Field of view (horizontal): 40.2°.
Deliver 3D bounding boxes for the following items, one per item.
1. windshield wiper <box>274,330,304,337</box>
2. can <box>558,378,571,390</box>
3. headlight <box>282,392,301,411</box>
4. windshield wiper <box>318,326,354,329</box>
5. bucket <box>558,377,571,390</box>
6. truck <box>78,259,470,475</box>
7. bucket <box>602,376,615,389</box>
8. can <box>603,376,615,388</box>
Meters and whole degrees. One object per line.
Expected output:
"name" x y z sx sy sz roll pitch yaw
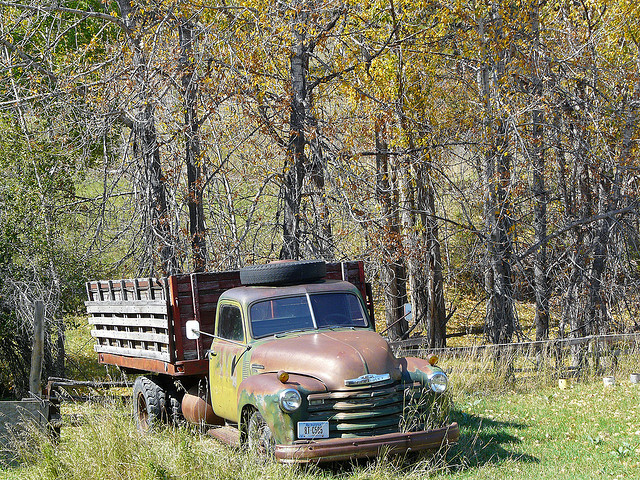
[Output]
"windshield wiper" -0.606 1.828 17.262 0.392 0.075 0.073 -7 -3 -8
"can" 6.529 3.797 23.263 0.243 0.288 0.257 -3 -4 30
"headlight" -0.527 2.933 16.032 0.298 0.329 0.295 3 0 -11
"windshield wiper" 0.306 1.729 17.406 0.694 0.061 0.098 1 -7 -4
"bucket" 6.548 3.789 23.290 0.267 0.306 0.280 -1 -3 0
"truck" -1.740 2.543 18.986 3.710 3.121 8.084 1 -6 -28
"bucket" 7.669 3.708 23.124 0.231 0.278 0.229 -2 -3 0
"can" 7.631 3.713 23.027 0.241 0.300 0.254 -1 -7 -3
